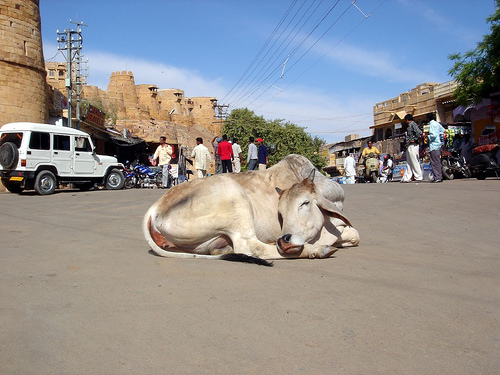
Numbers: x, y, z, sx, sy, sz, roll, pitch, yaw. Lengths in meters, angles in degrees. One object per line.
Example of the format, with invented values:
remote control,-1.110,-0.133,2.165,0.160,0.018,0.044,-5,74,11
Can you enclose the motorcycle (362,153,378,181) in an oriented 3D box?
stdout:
motorcycle,6.665,-1.153,17.474,0.718,1.515,0.621,1,3,22

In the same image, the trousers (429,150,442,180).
trousers,7.169,-0.872,12.286,0.524,1.132,0.389,-3,4,-43

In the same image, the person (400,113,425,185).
person,6.772,-1.606,13.148,0.796,2.797,1.448,1,3,27

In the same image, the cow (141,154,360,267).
cow,0.046,0.315,3.275,1.666,0.794,1.212,0,-1,-18

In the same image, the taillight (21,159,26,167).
taillight,-9.462,-1.027,13.201,0.185,0.325,0.051,-1,3,-1

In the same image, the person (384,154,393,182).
person,7.836,-1.053,17.963,0.429,1.337,1.034,1,3,26

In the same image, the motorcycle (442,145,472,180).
motorcycle,9.505,-1.170,14.699,1.917,1.278,0.926,-23,2,-41

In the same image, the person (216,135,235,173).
person,-1.201,-1.642,15.745,0.693,2.286,0.646,2,37,3

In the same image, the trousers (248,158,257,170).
trousers,0.153,-1.181,15.889,0.341,0.655,0.530,5,8,39

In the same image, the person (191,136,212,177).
person,-2.570,-1.496,16.849,0.973,2.506,0.705,2,32,-2

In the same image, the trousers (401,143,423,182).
trousers,6.860,-1.082,13.349,0.692,1.625,0.761,0,3,15
